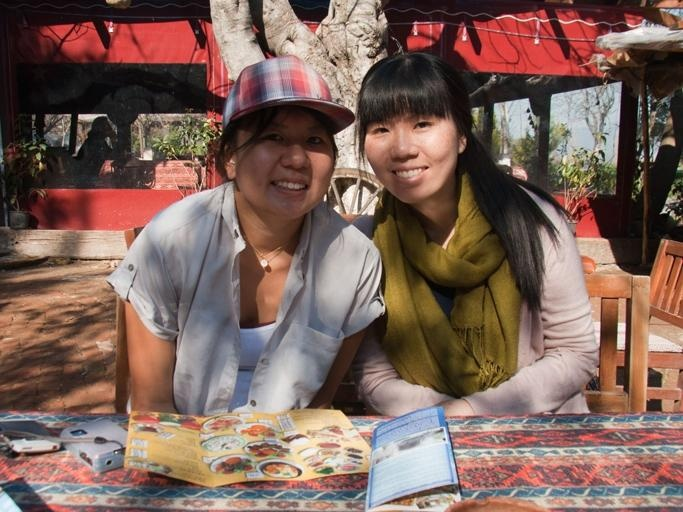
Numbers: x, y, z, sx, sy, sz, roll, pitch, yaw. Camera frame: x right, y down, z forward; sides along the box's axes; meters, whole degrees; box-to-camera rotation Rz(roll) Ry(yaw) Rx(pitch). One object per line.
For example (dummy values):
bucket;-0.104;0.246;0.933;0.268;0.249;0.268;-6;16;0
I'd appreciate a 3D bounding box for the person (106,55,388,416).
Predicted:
person;-0.351;-0.080;2.365;1.075;1.428;0.422;-4;12;-21

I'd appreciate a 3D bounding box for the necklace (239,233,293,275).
necklace;-0.319;-0.001;2.472;0.135;0.197;0.050;8;36;-19

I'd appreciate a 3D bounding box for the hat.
hat;-0.252;-0.592;2.291;0.381;0.210;0.299;-11;0;44
